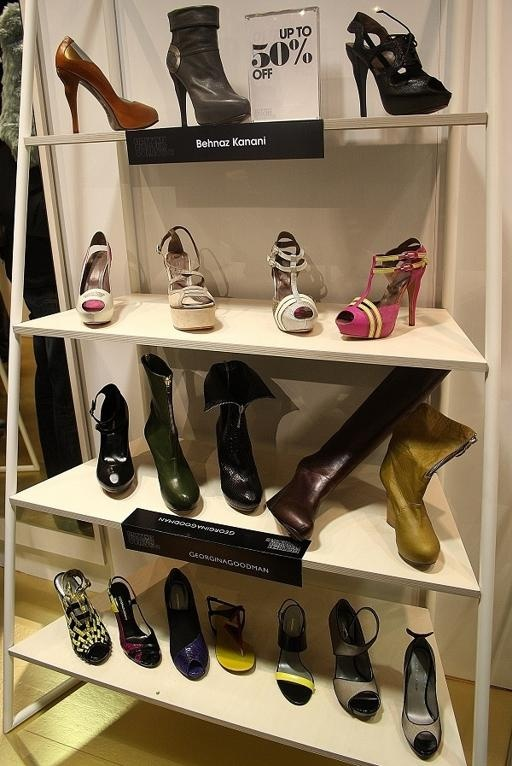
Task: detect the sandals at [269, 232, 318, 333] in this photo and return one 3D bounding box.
[{"bbox_3d":[0.057,-0.196,1.065,0.064,0.109,0.263,-4,42,0],"label":"sandals"}]

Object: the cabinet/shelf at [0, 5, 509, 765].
[{"bbox_3d":[-0.068,-0.039,1.068,1.015,1.540,0.316,2,5,23],"label":"cabinet/shelf"}]

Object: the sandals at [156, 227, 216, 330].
[{"bbox_3d":[-0.158,-0.206,1.166,0.092,0.127,0.356,-5,42,-6],"label":"sandals"}]

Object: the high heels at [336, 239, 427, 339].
[{"bbox_3d":[0.224,-0.163,0.947,0.173,0.168,0.082,-8,15,-24],"label":"high heels"}]
